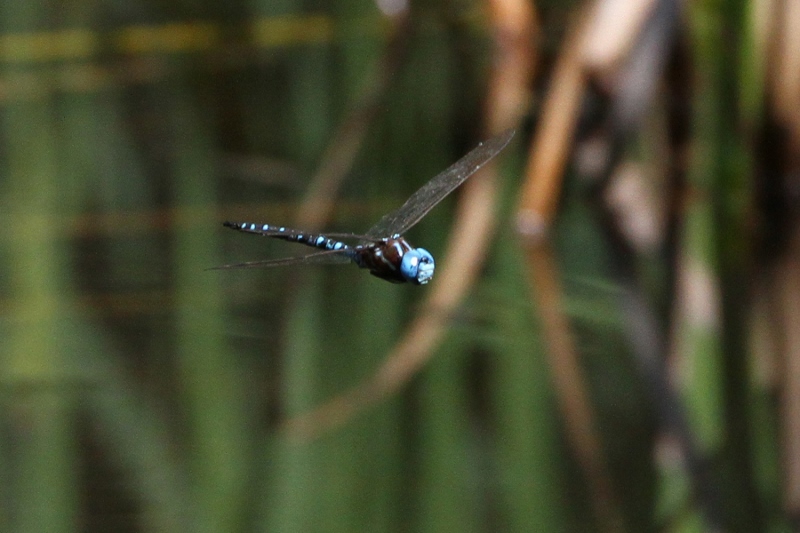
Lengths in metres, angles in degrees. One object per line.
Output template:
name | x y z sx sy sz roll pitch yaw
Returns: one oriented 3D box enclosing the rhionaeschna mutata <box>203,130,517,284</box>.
rhionaeschna mutata | -0.030 -0.047 1.629 0.530 0.193 0.256 -11 59 -11
